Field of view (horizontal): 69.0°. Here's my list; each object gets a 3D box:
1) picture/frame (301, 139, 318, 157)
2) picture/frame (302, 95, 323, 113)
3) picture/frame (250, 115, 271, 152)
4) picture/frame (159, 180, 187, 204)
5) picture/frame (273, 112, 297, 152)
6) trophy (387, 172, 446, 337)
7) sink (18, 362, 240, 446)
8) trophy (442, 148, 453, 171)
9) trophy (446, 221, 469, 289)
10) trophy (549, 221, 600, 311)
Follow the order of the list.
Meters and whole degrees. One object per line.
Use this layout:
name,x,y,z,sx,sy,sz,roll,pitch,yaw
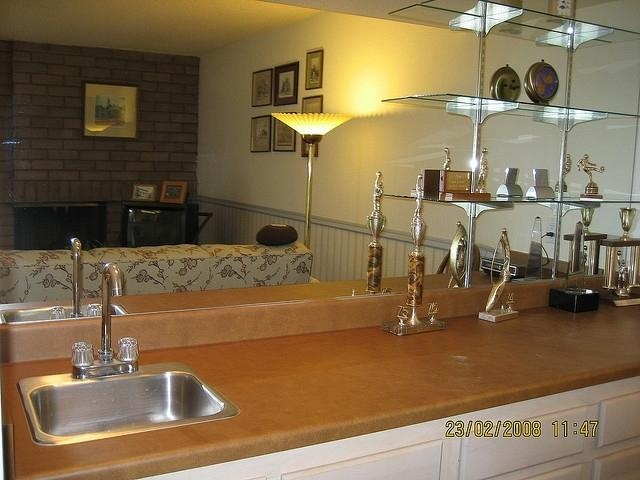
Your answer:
picture/frame,-0.047,-0.347,1.764,0.059,0.072,0.007,5,-8,-16
picture/frame,-0.037,-0.514,1.757,0.066,0.060,0.007,-1,3,-18
picture/frame,-0.220,-0.390,1.719,0.080,0.137,0.037,1,9,-9
picture/frame,-0.519,-0.170,1.627,0.070,0.069,0.028,3,15,-15
picture/frame,-0.138,-0.401,1.753,0.090,0.166,0.008,-2,-19,1
trophy,0.393,0.068,1.892,0.257,0.624,0.116,-2,5,-35
sink,-0.557,0.444,1.318,0.490,0.191,0.441,-1,7,-27
trophy,0.556,-0.359,2.048,0.057,0.093,0.018,-5,12,-38
trophy,0.623,0.068,2.118,0.045,0.288,0.125,10,12,41
trophy,1.238,0.135,2.291,0.224,0.435,0.237,6,6,29
